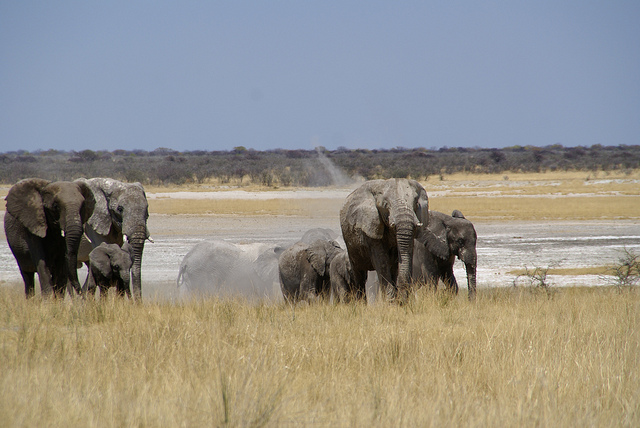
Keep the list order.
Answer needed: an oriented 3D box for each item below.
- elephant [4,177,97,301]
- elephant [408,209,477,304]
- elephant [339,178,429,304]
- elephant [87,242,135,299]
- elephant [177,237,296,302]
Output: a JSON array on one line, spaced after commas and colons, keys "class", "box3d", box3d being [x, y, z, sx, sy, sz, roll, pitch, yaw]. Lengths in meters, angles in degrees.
[{"class": "elephant", "box3d": [-4.671, 0.429, 15.988, 1.403, 2.178, 0.824, -2, 0, 12]}, {"class": "elephant", "box3d": [2.120, 0.935, 17.864, 1.207, 1.637, 1.908, 11, -16, -43]}, {"class": "elephant", "box3d": [1.119, 0.453, 16.179, 0.898, 2.034, 1.801, -2, 0, -30]}, {"class": "elephant", "box3d": [-3.871, 1.096, 17.358, 0.806, 0.997, 1.533, -6, 8, -41]}, {"class": "elephant", "box3d": [-1.848, 1.279, 20.777, 2.587, 1.535, 1.228, -3, 0, -9]}]
